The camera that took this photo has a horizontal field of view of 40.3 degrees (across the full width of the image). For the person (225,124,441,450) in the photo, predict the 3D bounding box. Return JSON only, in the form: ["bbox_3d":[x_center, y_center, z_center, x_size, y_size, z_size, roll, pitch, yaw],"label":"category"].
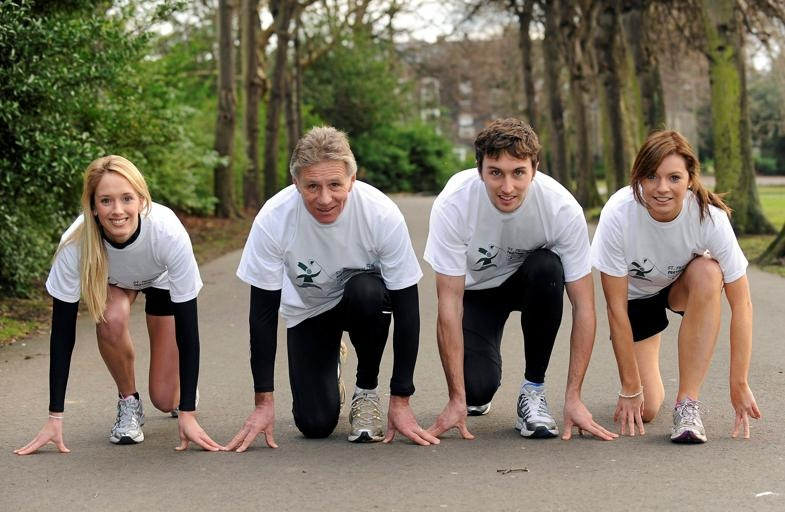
[{"bbox_3d":[-0.481,0.245,8.377,1.446,2.493,0.766,-1,14,-1],"label":"person"}]

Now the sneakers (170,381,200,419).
[{"bbox_3d":[-1.657,1.134,8.523,0.159,0.363,0.127,15,12,-47],"label":"sneakers"}]

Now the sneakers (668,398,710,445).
[{"bbox_3d":[2.302,1.263,8.277,0.268,0.304,0.215,3,15,16],"label":"sneakers"}]

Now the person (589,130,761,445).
[{"bbox_3d":[2.220,0.204,8.445,1.278,2.320,0.912,3,15,17],"label":"person"}]

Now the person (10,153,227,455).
[{"bbox_3d":[-2.115,0.350,8.377,1.208,2.220,0.826,-4,15,-9],"label":"person"}]
